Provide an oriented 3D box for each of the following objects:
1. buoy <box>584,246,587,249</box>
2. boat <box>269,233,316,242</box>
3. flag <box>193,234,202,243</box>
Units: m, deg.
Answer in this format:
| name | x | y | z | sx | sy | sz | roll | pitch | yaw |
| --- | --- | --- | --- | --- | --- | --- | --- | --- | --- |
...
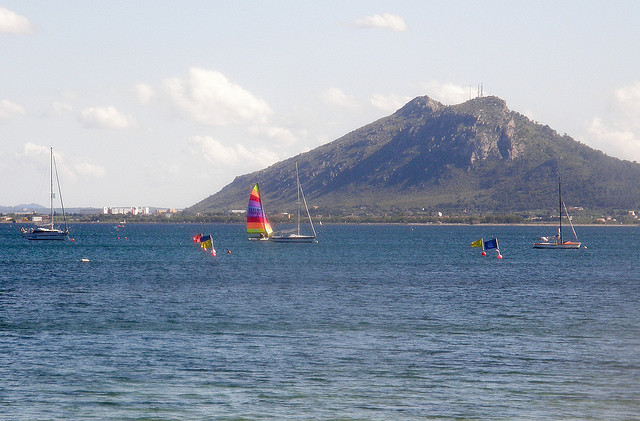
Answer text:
| name | x | y | z | sx | sy | sz | roll | pitch | yaw |
| --- | --- | --- | --- | --- | --- | --- | --- | --- | --- |
| buoy | 58.126 | 8.175 | 214.995 | 0.719 | 0.453 | 0.847 | 2 | 6 | 11 |
| boat | -6.338 | 6.214 | 220.367 | 9.556 | 1.528 | 5.008 | -1 | -3 | -35 |
| flag | -25.479 | 5.712 | 202.534 | 0.828 | 1.984 | 2.121 | 11 | 11 | 39 |
